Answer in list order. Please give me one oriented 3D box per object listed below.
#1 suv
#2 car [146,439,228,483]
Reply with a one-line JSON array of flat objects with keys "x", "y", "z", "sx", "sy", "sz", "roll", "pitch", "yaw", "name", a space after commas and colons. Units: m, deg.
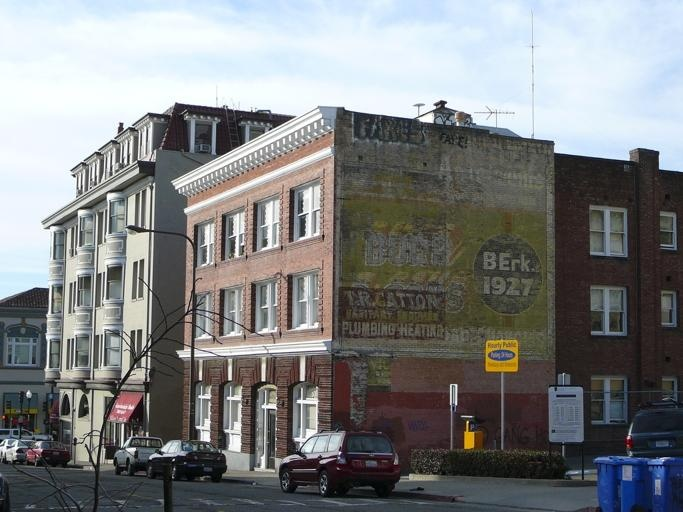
[{"x": -0.175, "y": 9.283, "z": 71.921, "sx": 3.460, "sy": 2.570, "sz": 6.699, "roll": 5, "pitch": -9, "yaw": -28, "name": "suv"}, {"x": -7.701, "y": 9.997, "z": 79.119, "sx": 2.616, "sy": 1.669, "sz": 5.614, "roll": 5, "pitch": -7, "yaw": -26, "name": "car"}]
